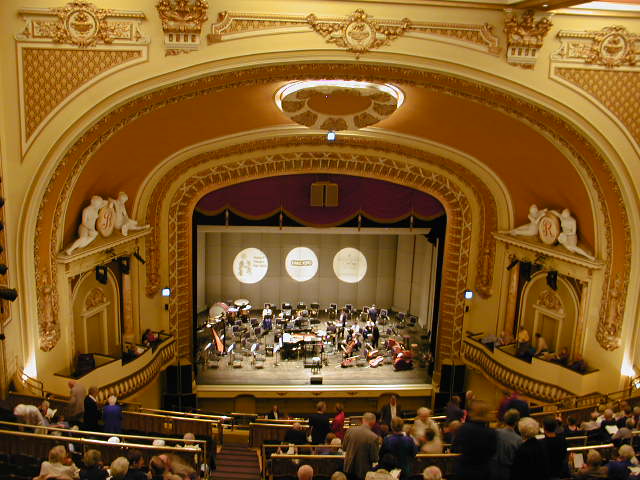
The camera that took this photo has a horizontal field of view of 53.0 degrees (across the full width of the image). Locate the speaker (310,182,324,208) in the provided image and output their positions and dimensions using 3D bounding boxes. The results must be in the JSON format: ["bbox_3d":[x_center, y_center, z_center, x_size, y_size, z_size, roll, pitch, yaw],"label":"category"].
[{"bbox_3d":[-0.103,-1.441,19.980,0.436,0.708,0.430,1,-11,-2],"label":"speaker"}]

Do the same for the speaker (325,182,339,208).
[{"bbox_3d":[0.364,-1.437,20.066,0.436,0.730,0.544,1,-12,0],"label":"speaker"}]

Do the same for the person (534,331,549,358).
[{"bbox_3d":[6.154,2.876,17.909,0.355,0.689,0.784,-3,-13,18],"label":"person"}]

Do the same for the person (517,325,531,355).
[{"bbox_3d":[5.781,2.844,18.266,0.348,0.885,0.886,-3,-13,17],"label":"person"}]

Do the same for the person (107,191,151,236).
[{"bbox_3d":[-5.285,-0.725,17.312,0.646,1.078,1.190,7,2,-15],"label":"person"}]

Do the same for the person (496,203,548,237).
[{"bbox_3d":[5.792,-0.459,18.073,0.342,0.545,1.150,2,-13,-34],"label":"person"}]

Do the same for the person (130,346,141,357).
[{"bbox_3d":[-4.954,3.004,17.474,0.297,0.309,0.702,5,-14,-18],"label":"person"}]
